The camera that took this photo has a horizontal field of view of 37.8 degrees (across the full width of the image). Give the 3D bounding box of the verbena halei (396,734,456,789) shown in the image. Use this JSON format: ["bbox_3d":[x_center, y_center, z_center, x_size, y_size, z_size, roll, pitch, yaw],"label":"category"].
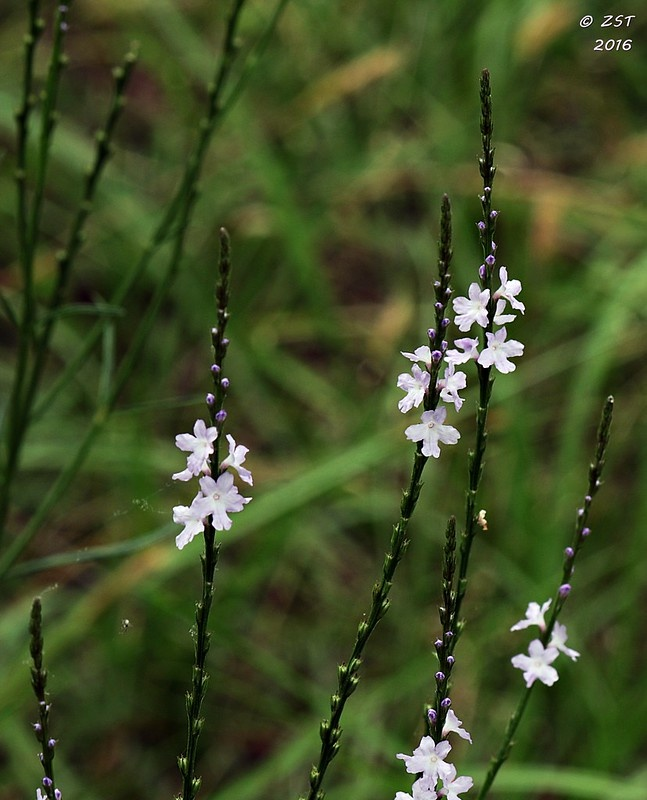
[{"bbox_3d":[0.109,0.362,0.957,0.066,0.068,0.019,-19,-88,19],"label":"verbena halei"}]
